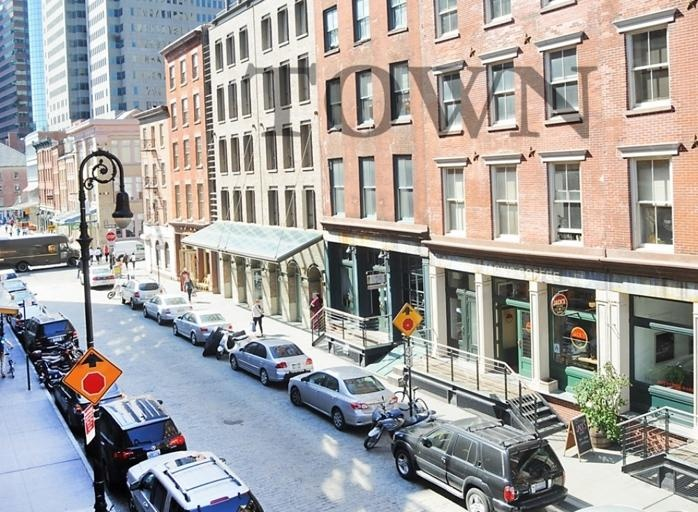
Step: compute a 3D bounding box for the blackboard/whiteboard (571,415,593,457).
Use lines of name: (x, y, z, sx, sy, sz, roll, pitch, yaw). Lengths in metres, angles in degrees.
blackboard/whiteboard: (7.319, 5.637, 20.071, 0.949, 1.280, 0.284, -8, 9, -42)

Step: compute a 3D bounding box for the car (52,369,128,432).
car: (-10.143, 5.554, 24.397, 1.742, 1.402, 3.444, -2, 16, -32)

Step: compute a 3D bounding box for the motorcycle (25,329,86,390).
motorcycle: (-13.546, 5.015, 29.469, 1.719, 2.020, 3.456, -1, 5, -25)

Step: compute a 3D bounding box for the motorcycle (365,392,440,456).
motorcycle: (1.780, 5.652, 21.777, 2.746, 1.646, 1.323, -6, 11, -13)

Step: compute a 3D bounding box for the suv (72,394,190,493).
suv: (-7.241, 5.635, 20.739, 2.409, 2.017, 4.115, -6, 17, -42)

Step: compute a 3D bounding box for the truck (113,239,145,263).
truck: (-24.058, -0.407, 69.669, 3.021, 1.804, 2.208, -6, 7, -10)
